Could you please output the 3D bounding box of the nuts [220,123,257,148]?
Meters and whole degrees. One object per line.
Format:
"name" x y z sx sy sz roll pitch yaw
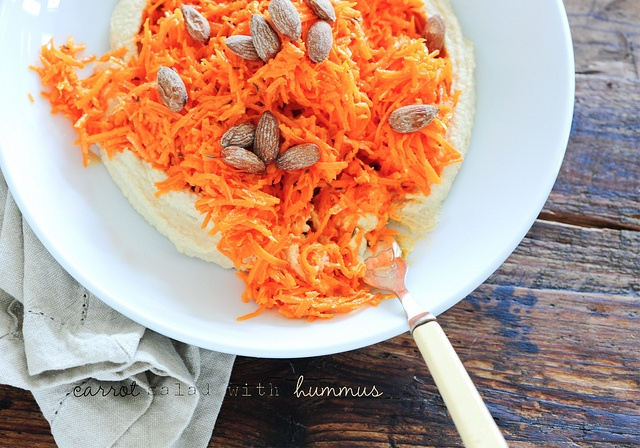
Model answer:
"nuts" -0.266 -0.290 2.095 0.120 0.068 0.064 -32 85 -4

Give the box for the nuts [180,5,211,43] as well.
"nuts" -0.432 -0.690 2.112 0.084 0.033 0.132 -28 85 -31

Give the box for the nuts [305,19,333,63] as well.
"nuts" -0.006 -0.593 2.001 0.099 0.074 0.116 -2 85 -1

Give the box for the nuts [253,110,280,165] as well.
"nuts" -0.180 -0.289 2.014 0.105 0.055 0.146 1 97 3

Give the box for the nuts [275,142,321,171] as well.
"nuts" -0.078 -0.224 2.078 0.157 0.042 0.072 -18 79 -3

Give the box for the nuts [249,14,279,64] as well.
"nuts" -0.185 -0.597 1.998 0.102 0.049 0.139 -30 96 -16

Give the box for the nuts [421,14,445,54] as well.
"nuts" 0.407 -0.678 2.201 0.101 0.045 0.119 8 100 22

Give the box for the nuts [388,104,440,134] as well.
"nuts" 0.314 -0.360 2.082 0.149 0.084 0.087 -13 120 -27

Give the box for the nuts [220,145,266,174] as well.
"nuts" -0.260 -0.213 2.051 0.146 0.045 0.064 21 96 -14
